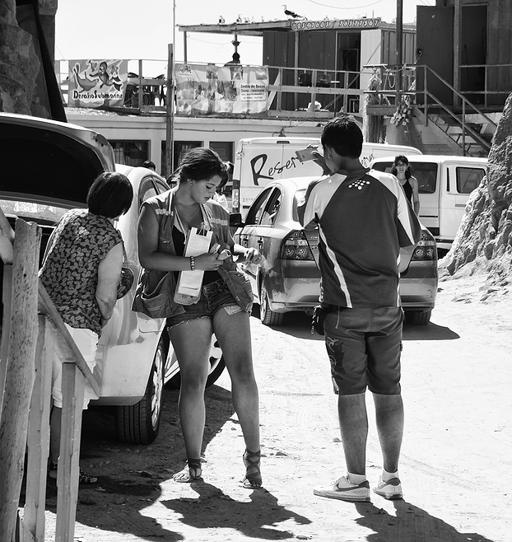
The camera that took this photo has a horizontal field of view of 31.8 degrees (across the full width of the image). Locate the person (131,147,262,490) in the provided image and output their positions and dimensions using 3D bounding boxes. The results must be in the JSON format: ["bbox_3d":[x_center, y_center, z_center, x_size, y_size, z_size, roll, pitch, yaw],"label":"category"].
[{"bbox_3d":[-0.283,0.228,4.614,0.654,1.708,0.379,1,3,-5],"label":"person"}]

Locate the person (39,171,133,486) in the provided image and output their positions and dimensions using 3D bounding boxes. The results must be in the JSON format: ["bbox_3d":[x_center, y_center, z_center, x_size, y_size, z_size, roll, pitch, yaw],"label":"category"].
[{"bbox_3d":[-0.774,0.323,4.151,0.423,1.571,0.803,0,4,-9],"label":"person"}]

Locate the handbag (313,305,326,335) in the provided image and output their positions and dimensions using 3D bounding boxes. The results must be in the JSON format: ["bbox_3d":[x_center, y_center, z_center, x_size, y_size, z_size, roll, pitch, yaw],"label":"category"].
[{"bbox_3d":[0.320,0.245,4.483,0.072,0.132,0.119,2,9,7],"label":"handbag"}]

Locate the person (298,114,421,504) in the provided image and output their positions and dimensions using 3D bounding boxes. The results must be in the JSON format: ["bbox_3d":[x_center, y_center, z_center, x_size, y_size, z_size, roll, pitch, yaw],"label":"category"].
[{"bbox_3d":[0.511,0.189,4.418,0.569,1.869,0.276,1,3,6],"label":"person"}]

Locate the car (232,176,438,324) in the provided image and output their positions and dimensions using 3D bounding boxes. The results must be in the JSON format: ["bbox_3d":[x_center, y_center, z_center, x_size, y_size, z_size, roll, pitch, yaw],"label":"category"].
[{"bbox_3d":[0.637,-0.233,10.094,1.239,1.261,2.479,-1,9,-7],"label":"car"}]

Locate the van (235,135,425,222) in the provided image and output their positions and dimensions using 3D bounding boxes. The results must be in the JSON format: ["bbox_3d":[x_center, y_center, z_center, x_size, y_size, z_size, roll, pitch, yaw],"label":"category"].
[{"bbox_3d":[1.206,-2.098,17.741,3.023,1.967,1.868,-3,6,-11],"label":"van"}]

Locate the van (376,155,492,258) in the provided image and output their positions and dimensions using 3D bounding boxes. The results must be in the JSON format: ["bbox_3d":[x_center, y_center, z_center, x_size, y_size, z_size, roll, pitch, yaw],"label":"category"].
[{"bbox_3d":[3.471,-1.286,16.811,1.331,1.355,2.217,4,12,31],"label":"van"}]

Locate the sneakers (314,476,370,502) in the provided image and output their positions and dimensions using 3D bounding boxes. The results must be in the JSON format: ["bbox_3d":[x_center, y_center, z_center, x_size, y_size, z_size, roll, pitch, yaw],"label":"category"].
[{"bbox_3d":[0.431,1.066,4.440,0.240,0.132,0.107,2,-7,21],"label":"sneakers"}]

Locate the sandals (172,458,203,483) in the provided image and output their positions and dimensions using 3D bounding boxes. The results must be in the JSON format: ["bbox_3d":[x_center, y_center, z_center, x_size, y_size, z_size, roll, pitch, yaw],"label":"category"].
[{"bbox_3d":[-0.331,1.033,4.640,0.183,0.158,0.073,2,-3,-4],"label":"sandals"}]

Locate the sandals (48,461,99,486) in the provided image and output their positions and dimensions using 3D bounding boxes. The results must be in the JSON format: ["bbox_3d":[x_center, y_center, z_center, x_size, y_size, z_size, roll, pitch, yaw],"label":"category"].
[{"bbox_3d":[-0.920,1.038,4.573,0.198,0.080,0.121,11,-1,21],"label":"sandals"}]

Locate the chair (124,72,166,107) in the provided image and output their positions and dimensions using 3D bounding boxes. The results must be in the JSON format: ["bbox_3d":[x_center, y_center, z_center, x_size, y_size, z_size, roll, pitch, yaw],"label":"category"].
[{"bbox_3d":[-3.343,-5.490,27.521,1.308,1.092,0.845,0,4,-16],"label":"chair"}]

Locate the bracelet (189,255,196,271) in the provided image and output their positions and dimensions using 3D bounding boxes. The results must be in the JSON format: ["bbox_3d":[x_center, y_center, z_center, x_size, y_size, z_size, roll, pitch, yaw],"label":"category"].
[{"bbox_3d":[-0.305,-0.032,4.424,0.034,0.065,0.033,1,4,-6],"label":"bracelet"}]
